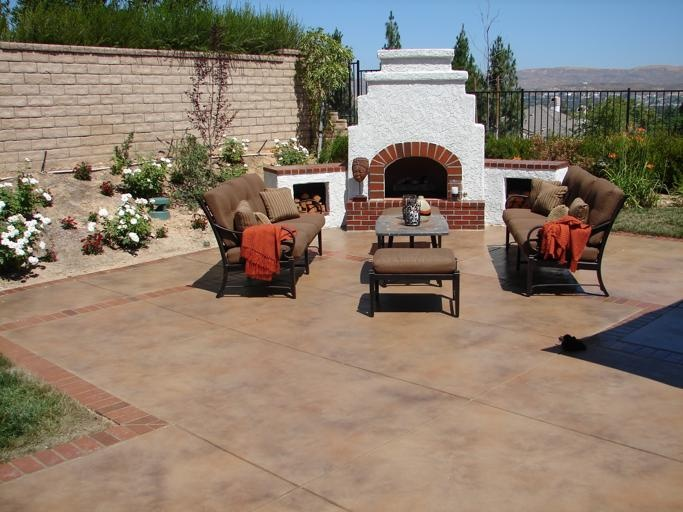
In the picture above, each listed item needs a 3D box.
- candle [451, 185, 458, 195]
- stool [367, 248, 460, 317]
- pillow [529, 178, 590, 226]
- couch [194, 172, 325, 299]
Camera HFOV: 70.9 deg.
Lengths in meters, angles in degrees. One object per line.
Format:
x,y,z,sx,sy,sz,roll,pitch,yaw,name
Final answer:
2.498,-1.459,10.620,0.186,0.166,0.168,2,3,14,candle
0.961,0.544,6.352,1.460,0.727,0.897,-1,17,4,stool
3.544,-0.940,8.031,0.904,0.810,1.081,3,12,5,pillow
-1.228,-0.429,7.628,1.420,1.705,2.143,-1,13,7,couch
